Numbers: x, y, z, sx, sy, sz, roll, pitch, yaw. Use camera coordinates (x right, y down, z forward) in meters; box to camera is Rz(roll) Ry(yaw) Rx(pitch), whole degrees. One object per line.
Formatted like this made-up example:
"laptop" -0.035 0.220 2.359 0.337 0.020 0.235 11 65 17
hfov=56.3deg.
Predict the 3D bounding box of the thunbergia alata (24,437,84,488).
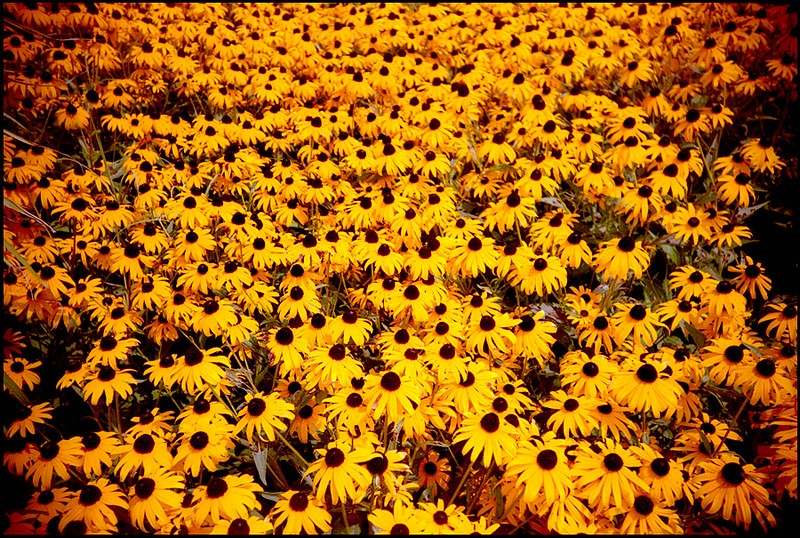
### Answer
"thunbergia alata" -2.774 1.557 6.034 0.371 0.182 0.406 22 54 -2

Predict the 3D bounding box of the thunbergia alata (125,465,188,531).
"thunbergia alata" -1.927 1.827 5.959 0.429 0.330 0.467 19 78 5

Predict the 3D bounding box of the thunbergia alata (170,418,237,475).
"thunbergia alata" -1.608 1.439 6.019 0.453 0.173 0.495 1 39 -7

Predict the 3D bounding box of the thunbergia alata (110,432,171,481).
"thunbergia alata" -2.057 1.449 6.092 0.471 0.495 0.174 11 105 -14

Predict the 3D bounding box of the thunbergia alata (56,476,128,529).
"thunbergia alata" -2.377 1.858 5.904 0.508 0.247 0.373 0 77 0

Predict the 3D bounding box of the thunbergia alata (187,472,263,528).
"thunbergia alata" -1.449 1.782 5.898 0.537 0.564 0.209 -1 104 14
